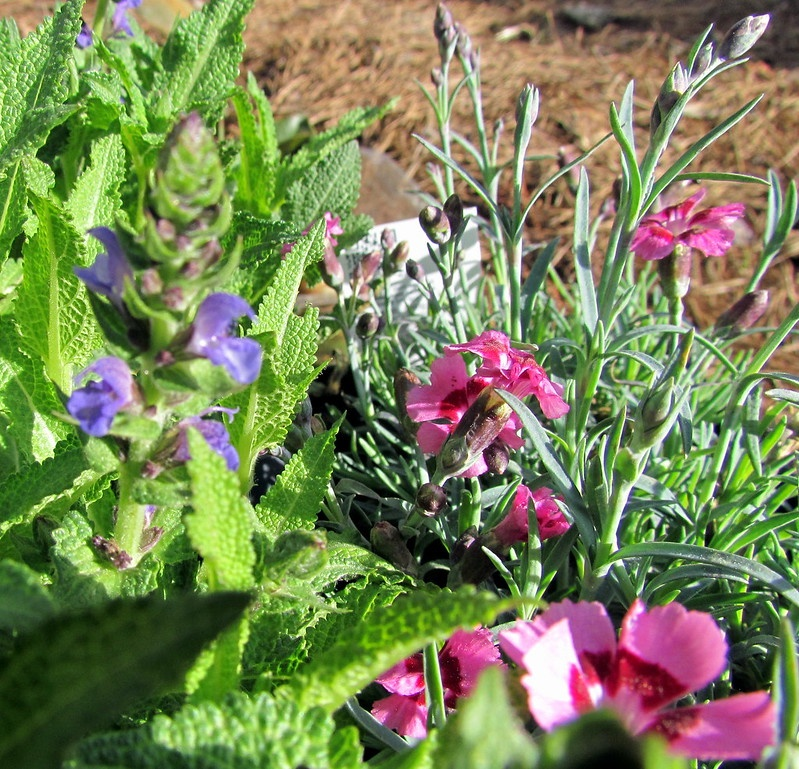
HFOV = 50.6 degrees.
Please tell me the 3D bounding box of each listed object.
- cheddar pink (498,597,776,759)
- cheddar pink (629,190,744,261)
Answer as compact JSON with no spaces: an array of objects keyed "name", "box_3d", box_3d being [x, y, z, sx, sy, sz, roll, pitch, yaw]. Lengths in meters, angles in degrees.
[{"name":"cheddar pink","box_3d":[0.176,0.212,0.643,0.161,0.078,0.158,12,15,13]},{"name":"cheddar pink","box_3d":[0.379,-0.219,1.189,0.147,0.137,0.108,-11,23,-26]}]
